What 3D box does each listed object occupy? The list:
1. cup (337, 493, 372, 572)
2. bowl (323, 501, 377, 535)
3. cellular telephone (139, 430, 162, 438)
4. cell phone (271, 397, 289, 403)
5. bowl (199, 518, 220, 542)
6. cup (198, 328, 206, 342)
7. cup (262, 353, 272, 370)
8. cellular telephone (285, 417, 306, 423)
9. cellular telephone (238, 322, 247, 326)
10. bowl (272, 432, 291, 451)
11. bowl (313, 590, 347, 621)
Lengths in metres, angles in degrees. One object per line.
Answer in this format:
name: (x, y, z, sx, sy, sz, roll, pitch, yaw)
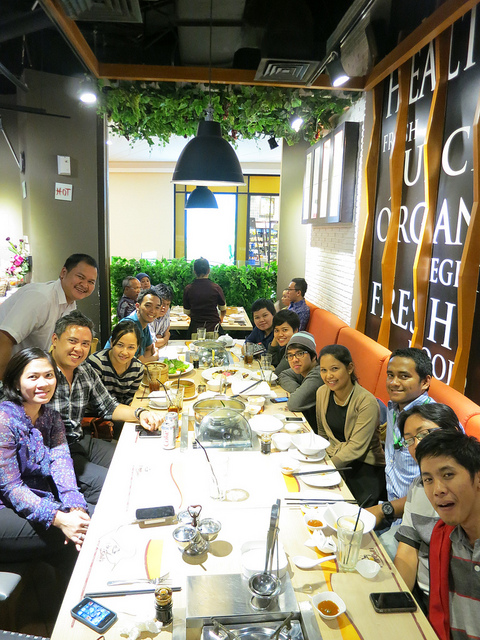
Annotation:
cup: (0.347, 0.637, 1.375, 0.086, 0.198, 0.249, 4, 12, 18)
bowl: (0.370, 0.670, 1.541, 0.161, 0.048, 0.173, -1, 16, 0)
cellular telephone: (-0.454, 0.575, 2.253, 0.108, 0.012, 0.089, -1, 11, -7)
cell phone: (0.246, 0.500, 2.776, 0.117, 0.013, 0.066, 1, 10, -19)
bowl: (-0.093, 0.670, 1.417, 0.041, 0.030, 0.041, 0, 22, 0)
cup: (-0.353, 0.137, 4.112, 0.097, 0.154, 0.099, -1, 9, 0)
cup: (0.199, 0.307, 3.251, 0.087, 0.141, 0.089, -1, 15, 0)
cellular telephone: (0.299, 0.548, 2.435, 0.122, 0.012, 0.069, 0, 6, -5)
cellular telephone: (0.023, 0.055, 5.747, 0.081, 0.012, 0.193, -2, 12, -14)
bowl: (0.199, 0.576, 2.121, 0.066, 0.033, 0.067, -1, 24, 0)
bowl: (0.227, 0.727, 1.136, 0.079, 0.019, 0.078, 1, 11, 0)
